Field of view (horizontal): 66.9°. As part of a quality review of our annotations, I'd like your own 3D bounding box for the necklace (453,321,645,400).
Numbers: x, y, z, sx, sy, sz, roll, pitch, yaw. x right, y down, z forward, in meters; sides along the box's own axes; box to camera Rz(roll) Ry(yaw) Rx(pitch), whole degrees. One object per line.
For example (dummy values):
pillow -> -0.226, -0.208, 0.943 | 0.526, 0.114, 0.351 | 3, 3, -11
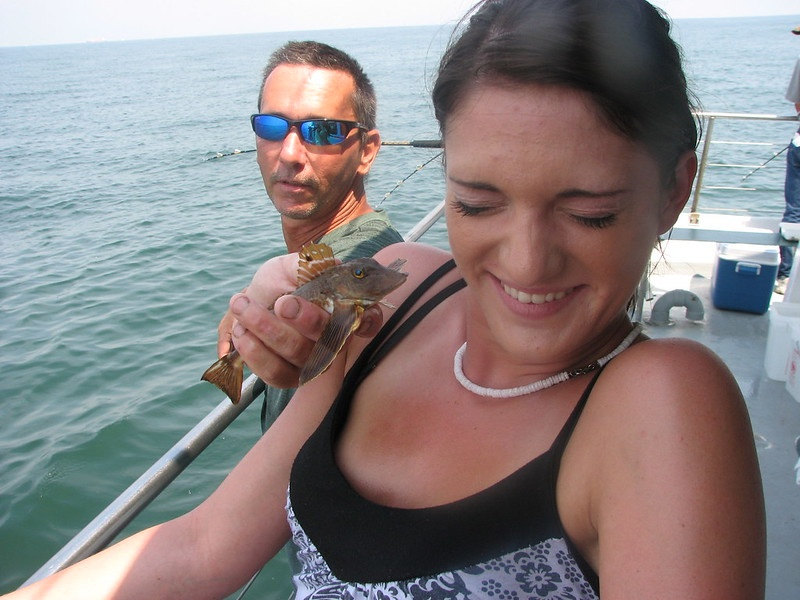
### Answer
necklace -> 0.503, 0.136, 2.094 | 0.711, 0.047, 0.576 | -24, 21, -39
